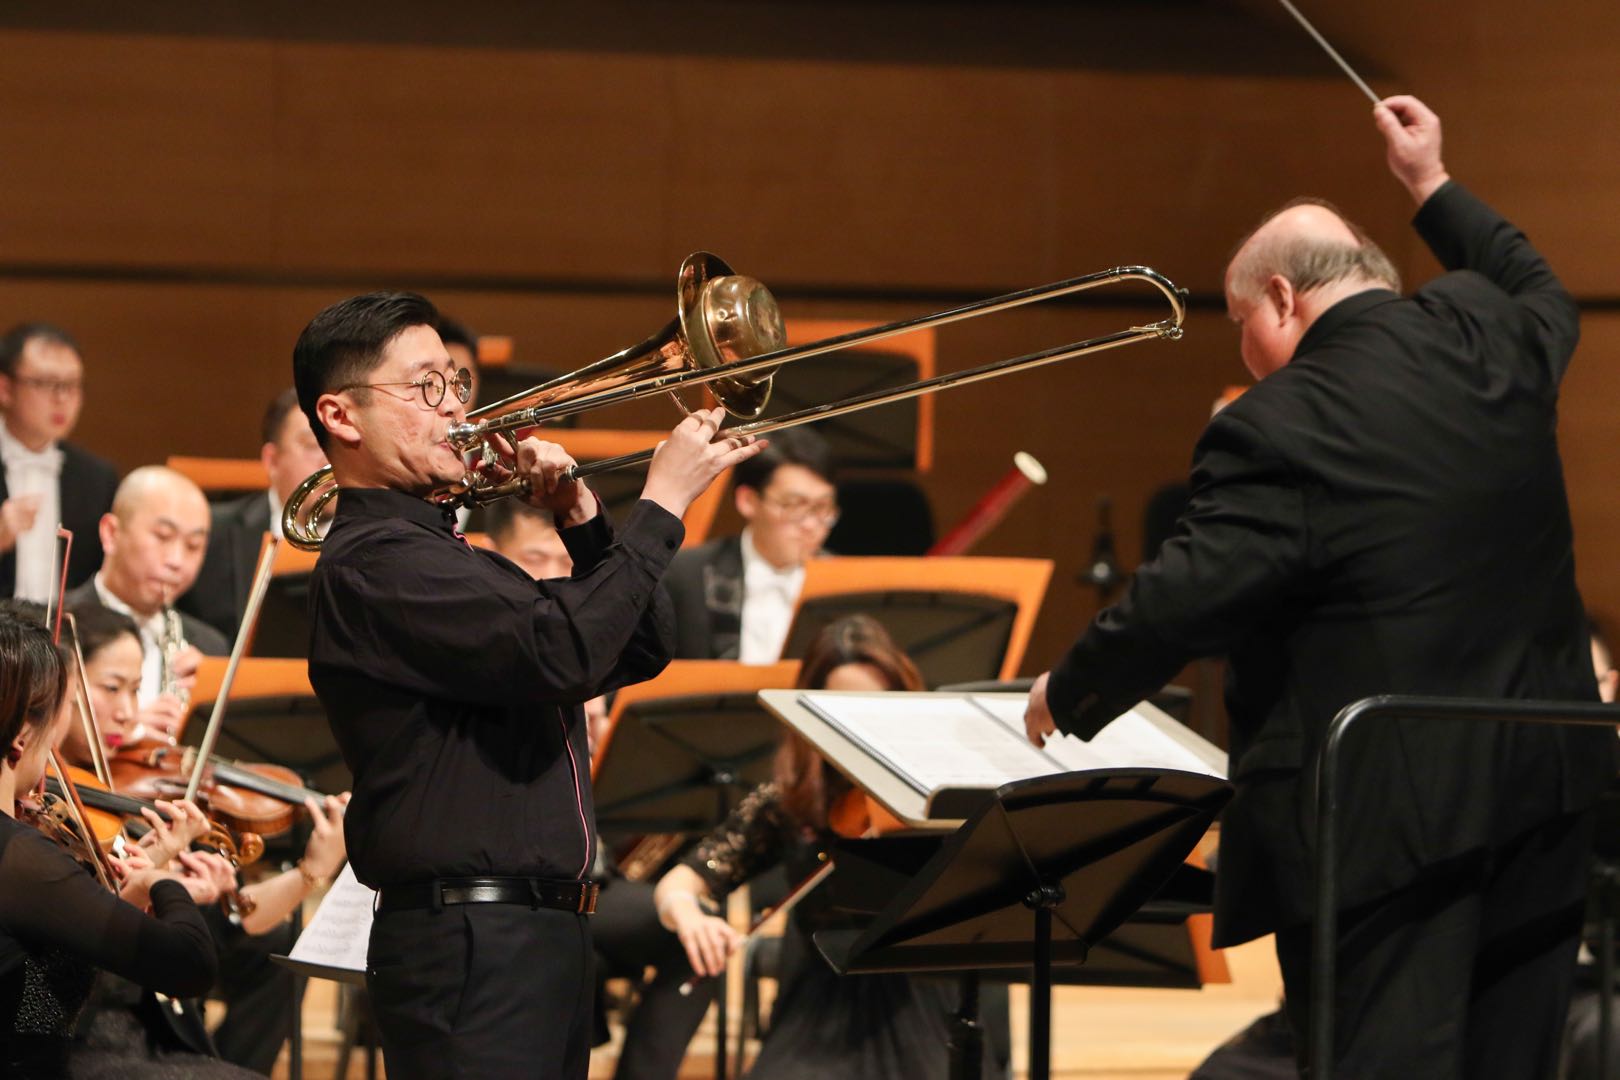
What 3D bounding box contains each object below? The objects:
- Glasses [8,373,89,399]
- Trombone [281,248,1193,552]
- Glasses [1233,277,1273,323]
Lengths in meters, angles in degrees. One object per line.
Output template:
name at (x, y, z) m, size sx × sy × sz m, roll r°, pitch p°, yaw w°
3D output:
Glasses at (-2.680, -0.542, 7.372) m, size 0.274 × 0.073 × 0.062 m, roll 9°, pitch 8°, yaw -21°
Trombone at (-0.278, -0.339, 5.116) m, size 2.397 × 0.545 × 0.627 m, roll -13°, pitch -42°, yaw 10°
Glasses at (1.077, -0.577, 5.022) m, size 0.093 × 0.101 × 0.074 m, roll 12°, pitch 10°, yaw 21°
